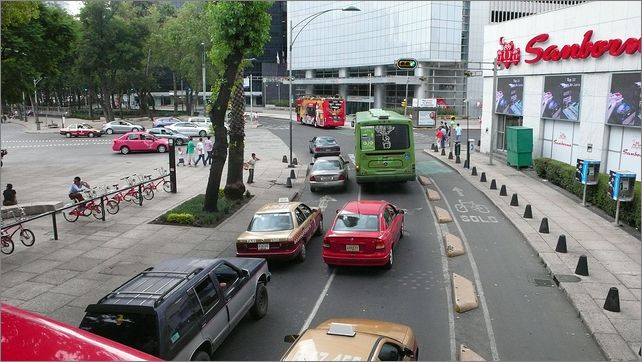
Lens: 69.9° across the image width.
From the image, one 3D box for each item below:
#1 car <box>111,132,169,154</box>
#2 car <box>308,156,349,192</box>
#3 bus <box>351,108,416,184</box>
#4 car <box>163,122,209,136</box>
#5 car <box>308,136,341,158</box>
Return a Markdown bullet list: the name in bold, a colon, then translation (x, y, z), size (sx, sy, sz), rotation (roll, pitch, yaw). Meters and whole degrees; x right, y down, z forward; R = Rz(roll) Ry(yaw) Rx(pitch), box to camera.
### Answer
- **car**: translation (-18.342, -3.808, 46.684), size (5.241, 1.749, 2.577), rotation (-4, 15, -15)
- **car**: translation (0.561, -0.499, 31.426), size (2.330, 1.940, 2.320), rotation (1, 14, 9)
- **bus**: translation (4.029, -2.084, 30.006), size (2.681, 2.570, 5.762), rotation (-1, 15, 3)
- **car**: translation (-16.637, -6.243, 57.487), size (4.625, 1.489, 2.193), rotation (0, 16, -6)
- **car**: translation (0.463, -3.163, 42.415), size (2.534, 1.589, 2.099), rotation (2, 14, 10)
